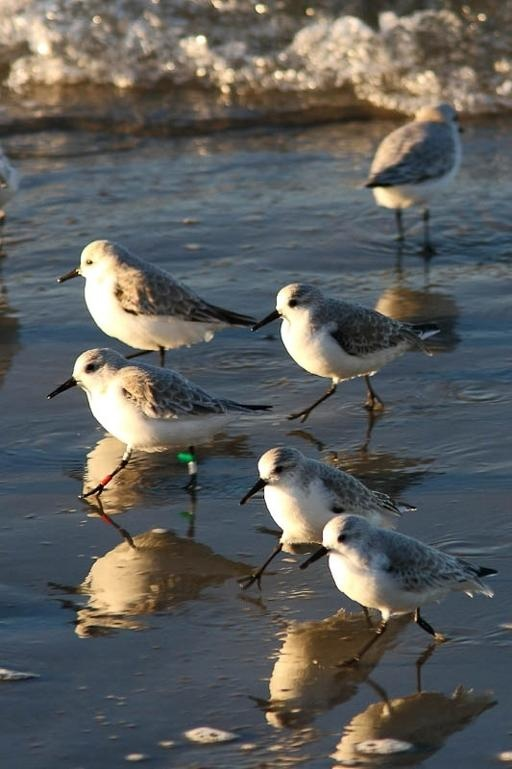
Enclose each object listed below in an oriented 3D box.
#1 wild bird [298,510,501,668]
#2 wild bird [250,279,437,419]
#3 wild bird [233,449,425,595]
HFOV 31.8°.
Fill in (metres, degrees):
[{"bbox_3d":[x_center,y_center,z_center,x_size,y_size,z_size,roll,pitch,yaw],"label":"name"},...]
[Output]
[{"bbox_3d":[0.689,0.875,4.199,0.975,0.640,0.433,-7,6,-35],"label":"wild bird"},{"bbox_3d":[0.692,-0.300,6.755,1.458,1.018,0.673,-13,20,-33],"label":"wild bird"},{"bbox_3d":[0.450,0.647,4.981,1.171,0.730,0.522,-9,17,-41],"label":"wild bird"}]
